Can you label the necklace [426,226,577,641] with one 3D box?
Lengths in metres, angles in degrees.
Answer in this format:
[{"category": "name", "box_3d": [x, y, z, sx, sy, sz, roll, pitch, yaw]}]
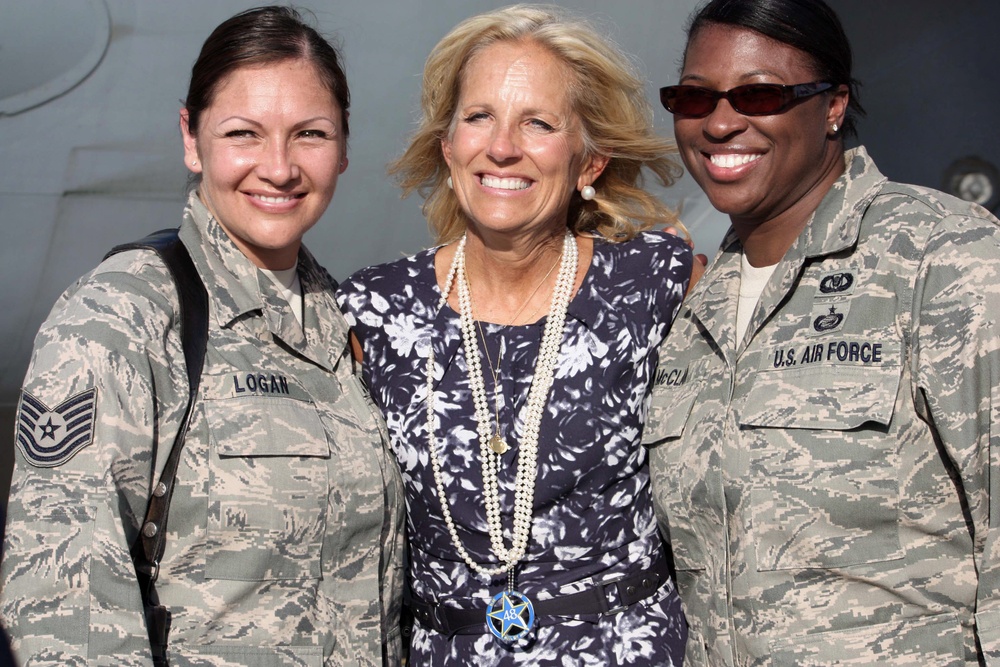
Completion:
[{"category": "necklace", "box_3d": [0.010, 0.430, 4.792, 0.547, 1.483, 0.074, -3, -12, 4]}]
